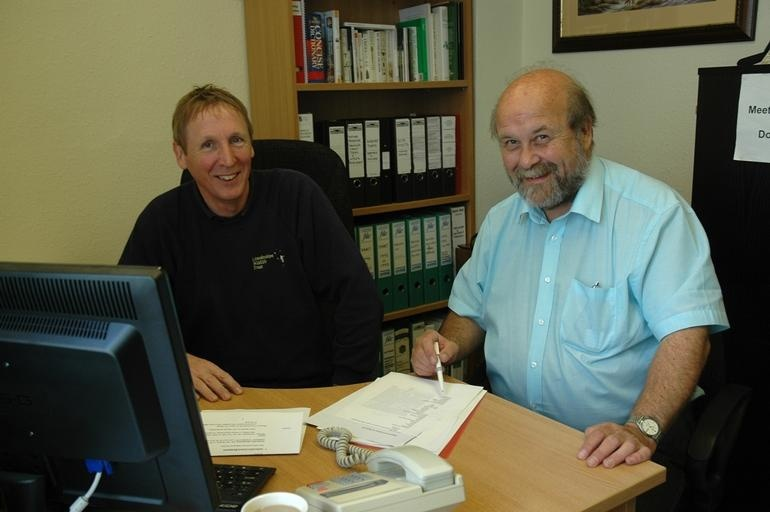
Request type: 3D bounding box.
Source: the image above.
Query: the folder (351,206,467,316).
[{"bbox_3d":[0.112,0.022,3.068,0.503,0.400,0.257,-19,20,-35],"label":"folder"}]

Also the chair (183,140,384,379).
[{"bbox_3d":[-0.514,-0.132,2.461,0.620,1.142,0.630,-7,6,-44],"label":"chair"}]

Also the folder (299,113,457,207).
[{"bbox_3d":[-0.052,-0.508,3.003,0.530,0.302,0.182,-12,18,-28],"label":"folder"}]

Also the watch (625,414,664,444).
[{"bbox_3d":[0.717,0.465,1.587,0.061,0.090,0.098,-40,-14,-12],"label":"watch"}]

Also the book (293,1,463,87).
[{"bbox_3d":[-0.011,-1.168,3.130,1.067,0.450,0.251,-18,19,-37],"label":"book"}]
